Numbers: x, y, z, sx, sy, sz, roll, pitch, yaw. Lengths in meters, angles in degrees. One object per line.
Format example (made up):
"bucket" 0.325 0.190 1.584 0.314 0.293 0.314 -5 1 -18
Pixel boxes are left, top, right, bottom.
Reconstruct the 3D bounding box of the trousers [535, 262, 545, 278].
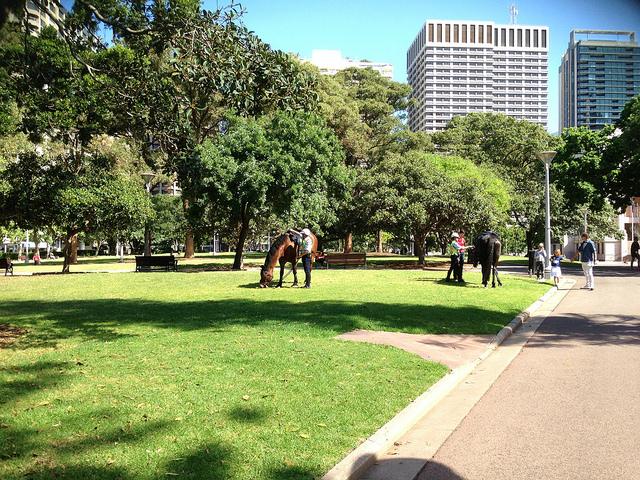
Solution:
"trousers" 10.658 1.389 27.086 0.350 0.836 0.898 3 6 20

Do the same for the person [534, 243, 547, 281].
"person" 10.644 1.012 27.088 0.540 1.632 1.386 3 7 22

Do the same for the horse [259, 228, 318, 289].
"horse" -1.186 0.694 22.347 0.980 2.343 3.793 8 12 29

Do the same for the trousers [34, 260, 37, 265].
"trousers" -26.743 1.997 52.692 0.206 0.405 0.394 -4 -4 0

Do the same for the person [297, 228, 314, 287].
"person" -0.639 0.670 22.377 0.688 2.314 0.768 2 8 8

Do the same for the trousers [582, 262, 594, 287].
"trousers" 11.027 1.378 23.169 0.397 1.067 0.871 4 7 25

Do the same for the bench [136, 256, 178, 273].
"bench" -10.495 1.451 35.845 2.388 1.007 1.469 -1 6 -20

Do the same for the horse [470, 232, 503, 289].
"horse" 7.200 0.776 24.180 1.123 2.581 3.722 -1 -4 12

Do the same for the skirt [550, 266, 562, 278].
"skirt" 10.709 1.400 25.552 0.608 0.653 0.374 2 2 16

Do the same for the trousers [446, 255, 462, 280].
"trousers" 6.026 1.190 25.247 0.660 1.257 1.195 2 6 13

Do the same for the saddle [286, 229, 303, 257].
"saddle" -0.962 0.066 21.749 0.497 0.745 0.209 9 12 43
